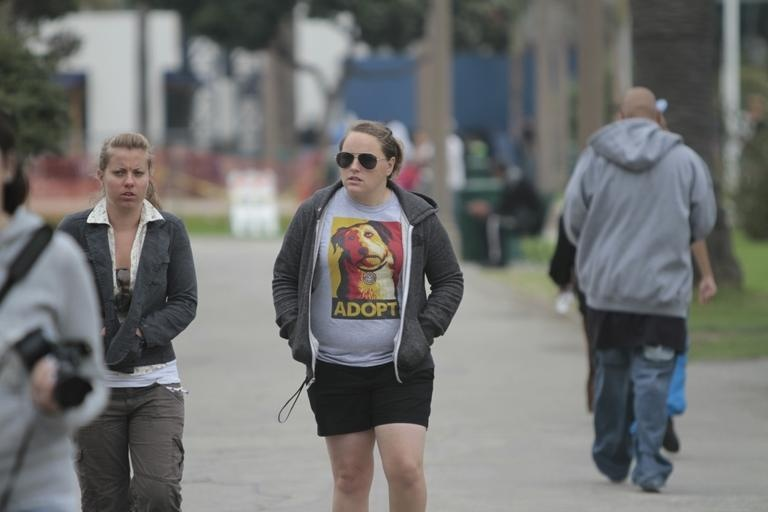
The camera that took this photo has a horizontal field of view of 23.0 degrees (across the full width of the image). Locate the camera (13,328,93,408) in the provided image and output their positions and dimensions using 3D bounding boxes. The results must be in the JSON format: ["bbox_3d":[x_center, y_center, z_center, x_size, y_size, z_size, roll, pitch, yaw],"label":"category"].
[{"bbox_3d":[-2.011,0.686,11.599,0.452,0.463,0.137,-42,-7,13],"label":"camera"}]
